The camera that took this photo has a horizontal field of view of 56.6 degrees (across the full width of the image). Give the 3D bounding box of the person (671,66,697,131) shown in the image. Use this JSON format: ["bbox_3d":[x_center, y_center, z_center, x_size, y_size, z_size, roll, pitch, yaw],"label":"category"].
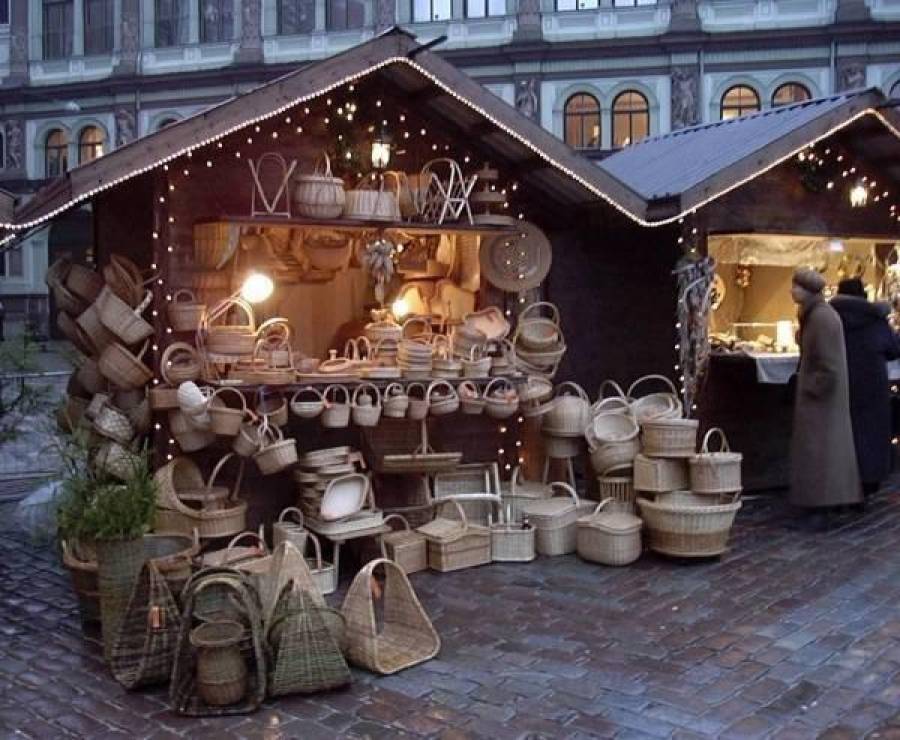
[{"bbox_3d":[6.714,-7.852,23.963,0.788,1.735,0.331,2,7,15],"label":"person"}]

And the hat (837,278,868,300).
[{"bbox_3d":[4.093,-0.832,8.454,0.214,0.290,0.303,-2,-9,16],"label":"hat"}]

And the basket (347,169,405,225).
[{"bbox_3d":[-0.713,-1.511,7.232,0.493,0.421,0.482,-1,-1,43],"label":"basket"}]

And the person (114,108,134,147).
[{"bbox_3d":[-10.565,-7.919,27.029,0.812,1.206,0.439,0,7,-2],"label":"person"}]

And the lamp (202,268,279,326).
[{"bbox_3d":[-1.764,-0.606,7.081,0.606,0.585,0.425,13,-3,-18],"label":"lamp"}]

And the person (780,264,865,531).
[{"bbox_3d":[3.477,0.186,7.734,0.674,2.270,0.454,3,7,22],"label":"person"}]

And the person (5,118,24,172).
[{"bbox_3d":[-14.574,-7.505,27.844,0.824,1.759,0.319,1,7,13],"label":"person"}]

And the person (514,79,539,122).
[{"bbox_3d":[2.255,-8.075,24.839,0.716,1.190,0.383,1,7,7],"label":"person"}]

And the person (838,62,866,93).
[{"bbox_3d":[11.198,-8.222,23.291,0.723,0.721,0.322,3,7,24],"label":"person"}]
